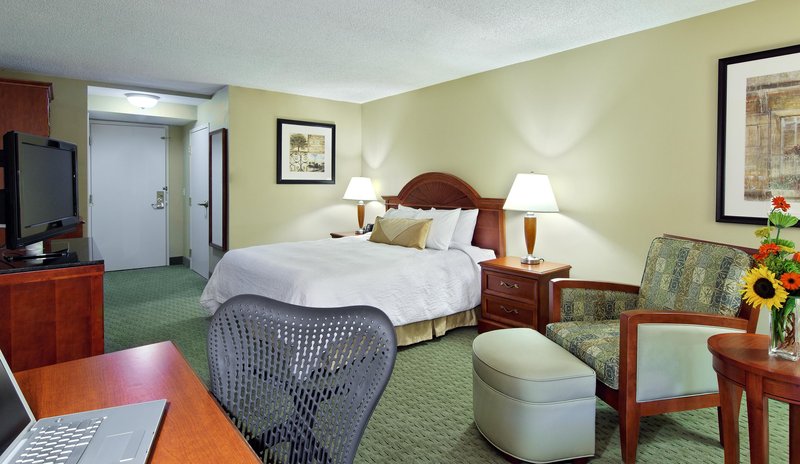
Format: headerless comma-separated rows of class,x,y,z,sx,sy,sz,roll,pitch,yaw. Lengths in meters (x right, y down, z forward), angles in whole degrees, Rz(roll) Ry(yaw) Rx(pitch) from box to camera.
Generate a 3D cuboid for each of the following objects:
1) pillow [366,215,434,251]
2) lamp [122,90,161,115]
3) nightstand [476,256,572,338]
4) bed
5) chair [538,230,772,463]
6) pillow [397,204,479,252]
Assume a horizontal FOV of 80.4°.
pillow,-0.020,-0.002,5.818,0.262,0.318,0.933,-19,18,-40
lamp,-3.639,-1.824,6.608,0.367,0.171,0.358,3,10,17
nightstand,1.368,0.726,5.153,0.604,0.770,0.832,-9,11,-37
bed,-0.272,0.133,5.455,2.592,1.512,2.553,1,-1,-32
chair,2.002,0.803,4.428,1.736,2.138,1.613,1,-2,-16
pillow,0.591,-0.047,5.712,0.708,0.497,0.208,3,-21,34
